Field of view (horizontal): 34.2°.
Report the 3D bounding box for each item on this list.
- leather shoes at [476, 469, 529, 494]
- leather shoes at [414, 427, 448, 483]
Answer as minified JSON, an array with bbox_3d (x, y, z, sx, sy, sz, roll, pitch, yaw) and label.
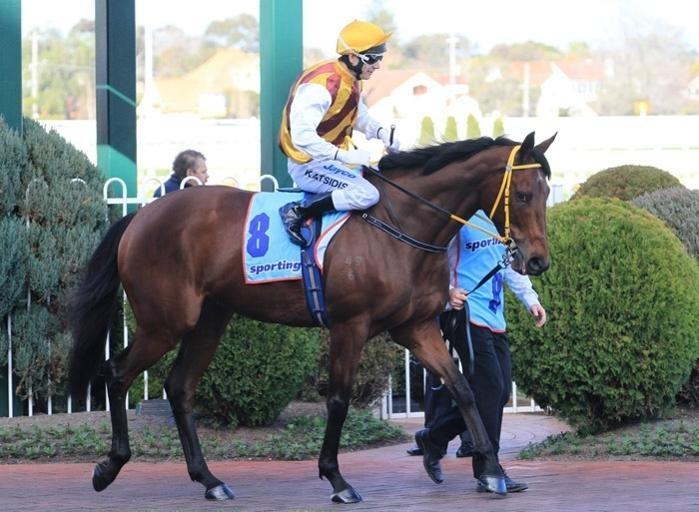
[{"bbox_3d":[1.309,1.961,9.822,0.438,0.200,0.162,0,0,-3],"label":"leather shoes"},{"bbox_3d":[0.726,1.785,10.214,0.225,0.525,0.177,-23,-1,34],"label":"leather shoes"}]
